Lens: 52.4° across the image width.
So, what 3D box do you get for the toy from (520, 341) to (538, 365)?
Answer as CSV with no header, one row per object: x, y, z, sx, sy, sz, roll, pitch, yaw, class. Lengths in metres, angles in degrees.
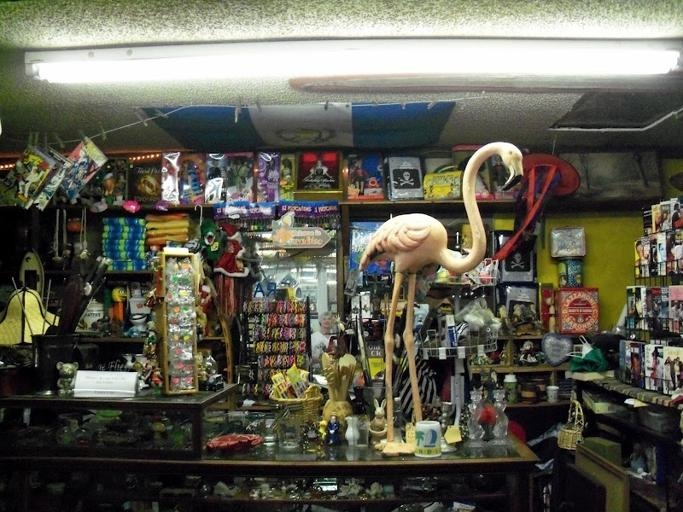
1.553,0.801,5.795,0.182,0.243,0.180,-3,0,16,toy

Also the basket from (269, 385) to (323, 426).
-0.319,0.945,4.292,0.360,0.175,0.367,7,-26,-7,basket

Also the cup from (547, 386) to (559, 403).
1.725,1.139,5.701,0.132,0.121,0.092,-3,-5,29,cup

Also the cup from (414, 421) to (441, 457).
0.483,1.009,3.855,0.178,0.174,0.169,-1,-1,0,cup
